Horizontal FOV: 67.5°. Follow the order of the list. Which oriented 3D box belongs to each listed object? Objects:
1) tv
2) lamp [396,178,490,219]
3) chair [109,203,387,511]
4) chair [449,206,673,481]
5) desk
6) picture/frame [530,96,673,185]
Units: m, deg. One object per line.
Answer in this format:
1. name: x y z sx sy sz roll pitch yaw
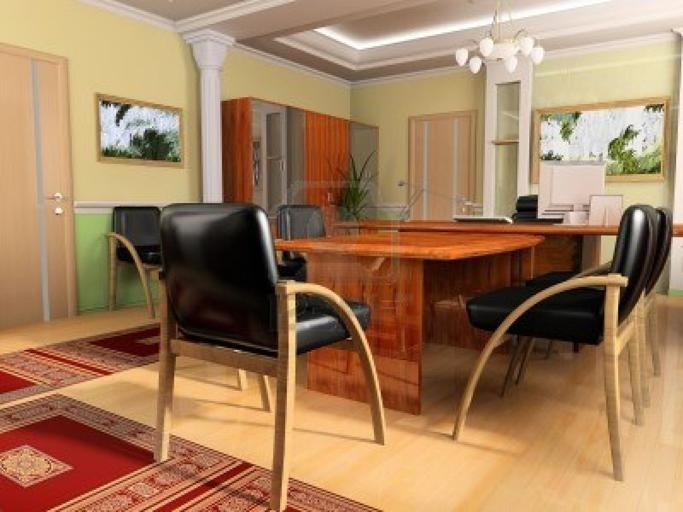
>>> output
1. tv: 1.851 -0.487 4.031 0.562 0.509 0.173 2 1 16
2. lamp: 1.364 -0.724 6.885 1.256 0.415 0.500 3 -1 2
3. chair: -0.668 0.289 2.609 1.093 1.587 1.189 3 5 36
4. chair: 1.070 0.281 2.505 0.814 1.102 0.961 7 13 31
5. desk: 0.457 0.189 2.930 1.566 0.705 1.545 3 5 29
6. picture/frame: 2.914 -1.324 5.823 0.040 0.841 1.440 -9 14 -42
